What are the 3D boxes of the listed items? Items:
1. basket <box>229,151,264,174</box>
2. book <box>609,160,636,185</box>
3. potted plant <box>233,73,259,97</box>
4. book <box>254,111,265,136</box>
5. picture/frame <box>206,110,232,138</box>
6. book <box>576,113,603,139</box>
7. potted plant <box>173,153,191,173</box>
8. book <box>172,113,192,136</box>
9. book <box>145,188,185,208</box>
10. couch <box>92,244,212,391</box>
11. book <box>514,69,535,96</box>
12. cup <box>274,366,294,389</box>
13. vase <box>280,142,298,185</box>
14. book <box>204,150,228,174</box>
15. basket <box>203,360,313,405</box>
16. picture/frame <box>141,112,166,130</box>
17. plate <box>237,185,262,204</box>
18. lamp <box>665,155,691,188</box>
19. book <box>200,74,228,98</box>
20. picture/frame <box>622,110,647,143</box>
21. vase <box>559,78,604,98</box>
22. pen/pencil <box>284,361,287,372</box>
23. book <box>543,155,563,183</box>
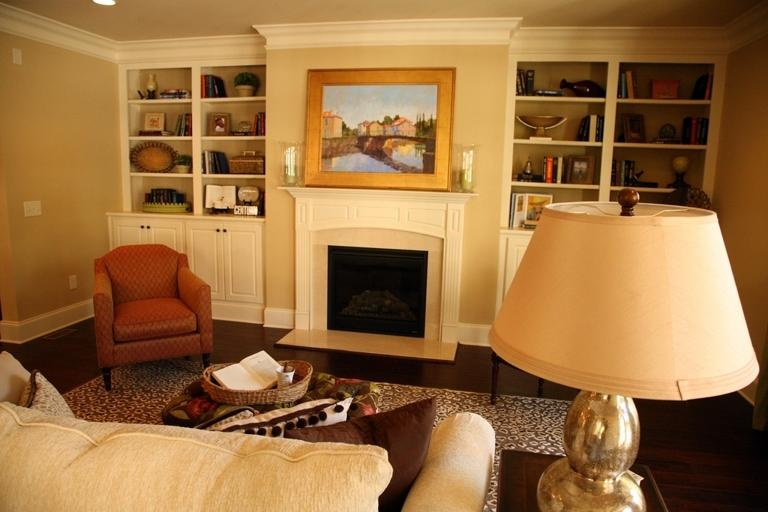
[{"bbox_3d":[-1.514,-1.023,6.056,0.308,0.183,0.296,1,8,2],"label":"basket"},{"bbox_3d":[2.369,-0.844,5.534,0.226,0.285,0.305,4,13,12],"label":"book"},{"bbox_3d":[-1.481,-1.855,6.026,0.293,0.275,0.282,1,13,-5],"label":"potted plant"},{"bbox_3d":[-1.385,-1.452,6.066,0.163,0.260,0.083,4,8,20],"label":"book"},{"bbox_3d":[-1.878,-1.482,6.220,0.364,0.405,0.056,2,14,5],"label":"picture/frame"},{"bbox_3d":[2.058,-1.261,5.466,0.245,0.255,0.092,5,8,23],"label":"book"},{"bbox_3d":[-2.316,-1.075,6.401,0.229,0.227,0.225,0,7,-14],"label":"potted plant"},{"bbox_3d":[-2.328,-1.499,6.309,0.423,0.273,0.122,9,10,44],"label":"book"},{"bbox_3d":[-2.531,-0.695,6.322,0.453,0.219,0.212,4,-11,-9],"label":"book"},{"bbox_3d":[-2.011,0.457,5.173,1.146,1.316,1.261,-3,7,-27],"label":"couch"},{"bbox_3d":[1.390,-1.712,5.579,0.236,0.291,0.311,2,7,5],"label":"book"},{"bbox_3d":[-0.616,0.755,3.411,0.111,0.154,0.101,10,9,2],"label":"cup"},{"bbox_3d":[-0.969,-0.948,5.696,0.185,0.432,0.088,2,7,3],"label":"vase"},{"bbox_3d":[-1.917,-1.057,6.372,0.251,0.319,0.336,1,14,0],"label":"book"},{"bbox_3d":[-0.755,0.793,3.328,0.434,0.116,0.307,2,9,-4],"label":"basket"},{"bbox_3d":[-2.693,-1.582,6.447,0.254,0.224,0.094,3,14,7],"label":"picture/frame"},{"bbox_3d":[-1.523,-0.696,6.256,0.211,0.190,0.073,5,24,4],"label":"plate"},{"bbox_3d":[2.940,-0.832,5.457,0.173,0.323,0.255,5,8,28],"label":"lamp"},{"bbox_3d":[-1.895,-1.877,6.112,0.062,0.259,0.270,5,3,38],"label":"book"},{"bbox_3d":[2.504,-1.278,5.496,0.254,0.305,0.234,3,8,15],"label":"picture/frame"},{"bbox_3d":[1.958,-1.631,5.442,0.369,0.135,0.212,13,52,24],"label":"vase"},{"bbox_3d":[-0.624,0.700,3.480,0.011,0.049,0.015,15,39,6],"label":"pen/pencil"},{"bbox_3d":[1.687,-0.899,5.681,0.230,0.289,0.299,2,15,5],"label":"book"}]
